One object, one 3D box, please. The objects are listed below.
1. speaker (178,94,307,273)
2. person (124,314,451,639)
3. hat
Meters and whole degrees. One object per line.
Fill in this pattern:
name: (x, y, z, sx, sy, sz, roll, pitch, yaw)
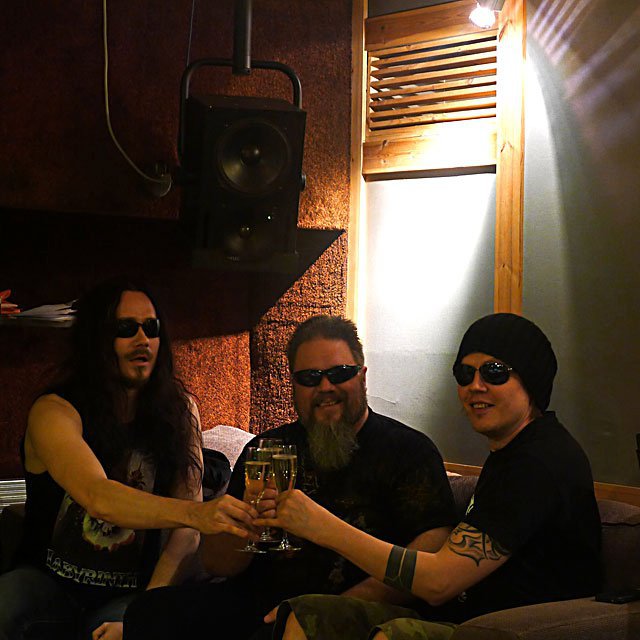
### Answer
speaker: (-0.205, -0.366, 1.786, 0.323, 0.438, 0.323, 1, -5, 7)
person: (-0.050, 0.474, 1.858, 0.803, 1.039, 0.699, 20, -19, -37)
hat: (0.503, 0.100, 1.655, 0.219, 0.255, 0.299, 11, 13, 43)
